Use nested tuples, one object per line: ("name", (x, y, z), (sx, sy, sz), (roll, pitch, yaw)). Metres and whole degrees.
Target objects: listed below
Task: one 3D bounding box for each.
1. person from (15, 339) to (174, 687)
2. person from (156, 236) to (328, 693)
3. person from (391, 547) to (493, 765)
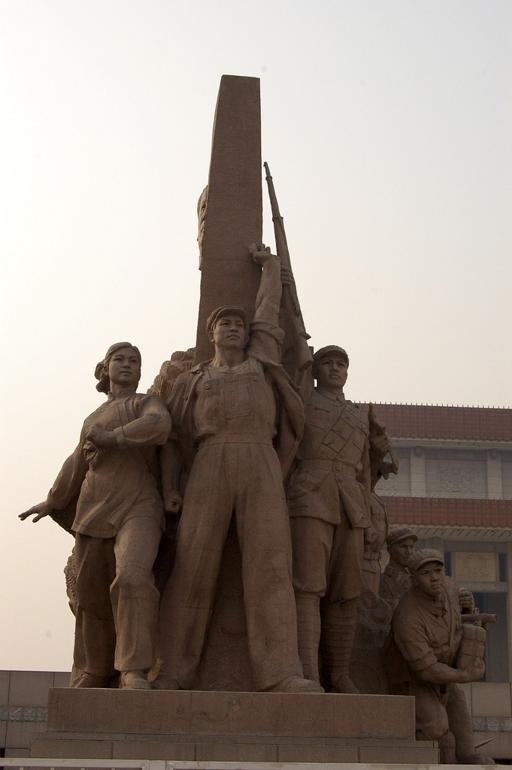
("person", (-1.110, 0.937, 7.596), (0.795, 2.815, 1.436), (5, -15, -21))
("person", (-0.180, 0.634, 7.886), (1.133, 3.564, 0.853), (-1, -14, 1))
("person", (1.654, 2.509, 8.901), (0.859, 1.942, 1.249), (-5, -14, 17))
